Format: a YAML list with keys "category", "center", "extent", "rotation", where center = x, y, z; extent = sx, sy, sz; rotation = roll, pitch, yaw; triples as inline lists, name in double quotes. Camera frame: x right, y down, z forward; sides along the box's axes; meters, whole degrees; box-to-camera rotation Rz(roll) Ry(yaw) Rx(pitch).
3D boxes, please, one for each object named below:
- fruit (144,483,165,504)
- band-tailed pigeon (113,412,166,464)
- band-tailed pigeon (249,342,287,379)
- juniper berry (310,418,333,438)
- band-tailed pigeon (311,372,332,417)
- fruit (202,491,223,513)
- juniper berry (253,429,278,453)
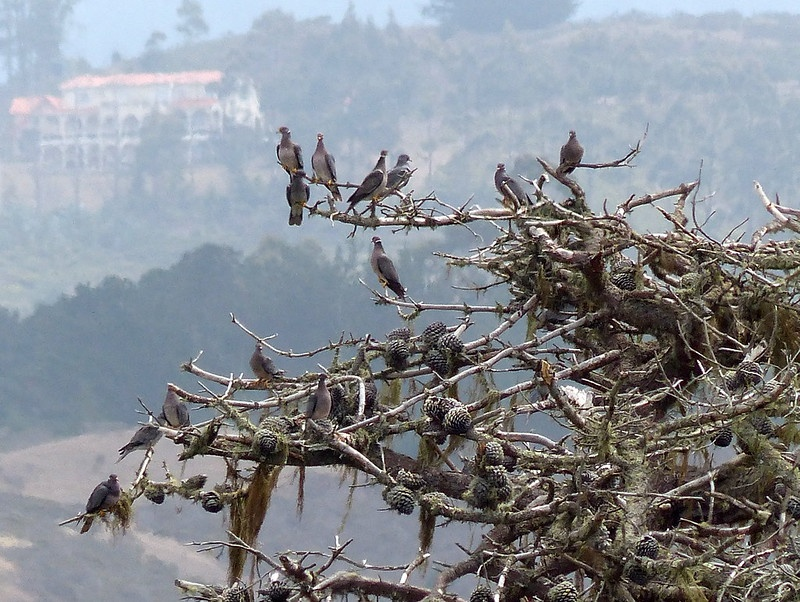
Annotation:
- category: "fruit"
  center: [-3.044, 2.373, 21.511]
  extent: [0.259, 0.221, 0.435]
  rotation: [3, -1, -8]
- category: "band-tailed pigeon"
  center: [-3.217, 1.668, 21.675]
  extent: [0.719, 0.541, 0.266]
  rotation: [-3, 4, 1]
- category: "band-tailed pigeon"
  center: [-1.745, 0.757, 22.561]
  extent: [0.306, 0.512, 0.534]
  rotation: [1, 6, 37]
- category: "juniper berry"
  center: [-0.917, 1.463, 20.279]
  extent: [0.175, 0.275, 0.121]
  rotation: [2, -32, -2]
- category: "band-tailed pigeon"
  center: [-0.950, 1.113, 20.478]
  extent: [0.298, 0.474, 0.283]
  rotation: [3, -1, -27]
- category: "fruit"
  center: [-2.331, 2.464, 21.484]
  extent: [0.271, 0.233, 0.263]
  rotation: [3, -1, -7]
- category: "juniper berry"
  center: [-1.594, 1.636, 20.464]
  extent: [0.203, 0.264, 0.284]
  rotation: [-1, 0, -5]
